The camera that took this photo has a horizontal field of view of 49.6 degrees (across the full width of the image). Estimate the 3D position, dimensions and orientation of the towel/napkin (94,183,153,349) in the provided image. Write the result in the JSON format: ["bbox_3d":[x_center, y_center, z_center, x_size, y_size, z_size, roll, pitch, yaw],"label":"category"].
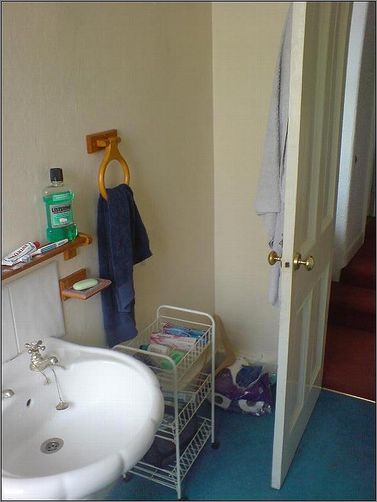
[{"bbox_3d":[-0.174,0.038,1.151,0.078,0.451,0.176,6,19,33],"label":"towel/napkin"}]

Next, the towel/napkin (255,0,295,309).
[{"bbox_3d":[0.264,-0.302,1.195,0.095,0.731,0.179,-7,16,-10],"label":"towel/napkin"}]

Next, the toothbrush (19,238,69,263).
[{"bbox_3d":[-0.311,-0.009,0.897,0.019,0.039,0.140,-3,15,31],"label":"toothbrush"}]

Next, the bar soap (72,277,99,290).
[{"bbox_3d":[-0.258,0.083,1.023,0.022,0.018,0.048,11,14,28],"label":"bar soap"}]

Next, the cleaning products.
[{"bbox_3d":[-0.293,-0.106,0.931,0.070,0.175,0.045,-15,31,-32],"label":"cleaning products"}]
